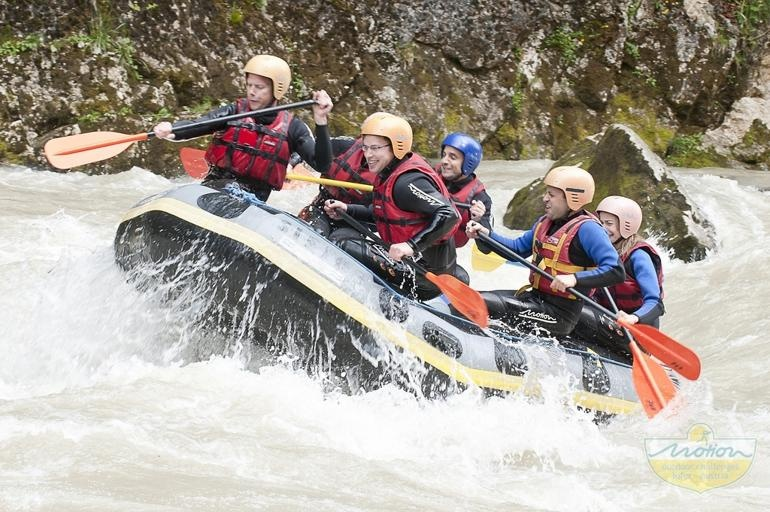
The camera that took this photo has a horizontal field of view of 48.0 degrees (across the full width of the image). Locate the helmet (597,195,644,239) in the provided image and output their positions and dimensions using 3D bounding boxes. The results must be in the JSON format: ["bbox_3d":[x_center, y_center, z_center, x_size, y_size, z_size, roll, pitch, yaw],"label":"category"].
[{"bbox_3d":[2.367,-0.365,8.717,0.488,0.358,0.363,9,2,-21],"label":"helmet"}]

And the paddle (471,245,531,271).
[{"bbox_3d":[1.123,0.057,9.127,0.424,0.126,0.221,2,26,2],"label":"paddle"}]

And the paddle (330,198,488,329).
[{"bbox_3d":[0.152,0.083,7.957,1.029,0.144,0.939,12,19,-43],"label":"paddle"}]

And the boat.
[{"bbox_3d":[-0.041,0.461,7.883,3.970,0.759,2.112,25,-5,-18],"label":"boat"}]

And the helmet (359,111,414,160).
[{"bbox_3d":[0.049,-1.119,7.817,0.504,0.353,0.345,-13,34,-18],"label":"helmet"}]

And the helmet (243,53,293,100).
[{"bbox_3d":[-1.104,-1.727,8.320,0.487,0.339,0.359,12,9,-33],"label":"helmet"}]

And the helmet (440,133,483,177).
[{"bbox_3d":[0.827,-1.096,9.303,0.521,0.383,0.366,9,9,-26],"label":"helmet"}]

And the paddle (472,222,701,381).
[{"bbox_3d":[1.950,0.500,8.450,2.867,0.354,0.196,31,19,12],"label":"paddle"}]

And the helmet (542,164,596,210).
[{"bbox_3d":[1.748,-0.629,8.229,0.471,0.317,0.326,3,15,-20],"label":"helmet"}]

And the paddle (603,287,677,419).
[{"bbox_3d":[2.401,0.969,8.263,0.912,0.235,0.941,55,5,23],"label":"paddle"}]
